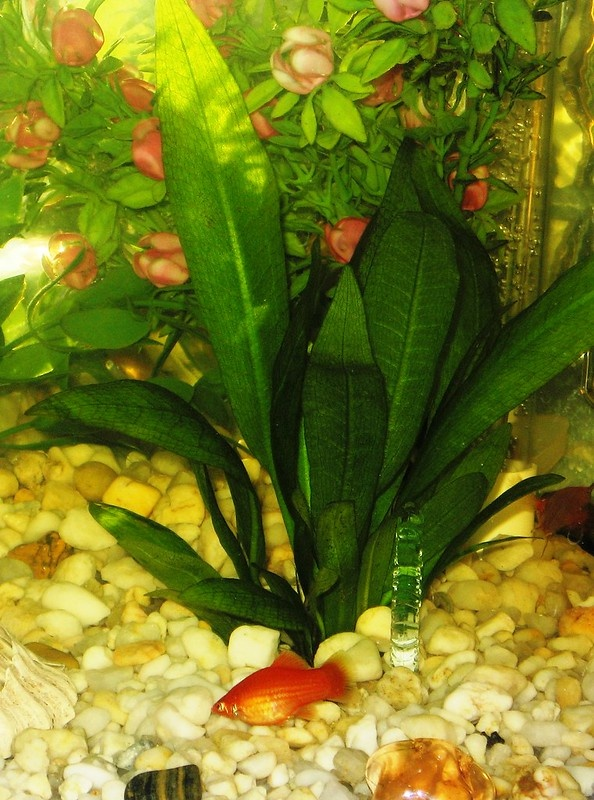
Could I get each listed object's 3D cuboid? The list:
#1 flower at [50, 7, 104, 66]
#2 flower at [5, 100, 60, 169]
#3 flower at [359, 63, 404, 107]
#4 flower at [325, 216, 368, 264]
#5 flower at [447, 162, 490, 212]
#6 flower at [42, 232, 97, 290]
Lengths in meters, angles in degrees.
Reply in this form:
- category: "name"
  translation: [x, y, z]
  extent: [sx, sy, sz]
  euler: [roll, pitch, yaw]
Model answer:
- category: "flower"
  translation: [-0.282, -0.462, 0.858]
  extent: [0.071, 0.072, 0.031]
  euler: [0, 4, -10]
- category: "flower"
  translation: [-0.356, -0.362, 0.930]
  extent: [0.075, 0.086, 0.022]
  euler: [25, 22, 8]
- category: "flower"
  translation: [0.109, -0.383, 0.818]
  extent: [0.022, 0.060, 0.044]
  euler: [45, -16, 43]
- category: "flower"
  translation: [0.060, -0.173, 0.770]
  extent: [0.058, 0.061, 0.030]
  euler: [6, 5, 36]
- category: "flower"
  translation: [0.219, -0.257, 0.830]
  extent: [0.041, 0.060, 0.052]
  euler: [-7, 12, -40]
- category: "flower"
  translation: [-0.313, -0.204, 0.987]
  extent: [0.093, 0.033, 0.084]
  euler: [3, -69, 26]
